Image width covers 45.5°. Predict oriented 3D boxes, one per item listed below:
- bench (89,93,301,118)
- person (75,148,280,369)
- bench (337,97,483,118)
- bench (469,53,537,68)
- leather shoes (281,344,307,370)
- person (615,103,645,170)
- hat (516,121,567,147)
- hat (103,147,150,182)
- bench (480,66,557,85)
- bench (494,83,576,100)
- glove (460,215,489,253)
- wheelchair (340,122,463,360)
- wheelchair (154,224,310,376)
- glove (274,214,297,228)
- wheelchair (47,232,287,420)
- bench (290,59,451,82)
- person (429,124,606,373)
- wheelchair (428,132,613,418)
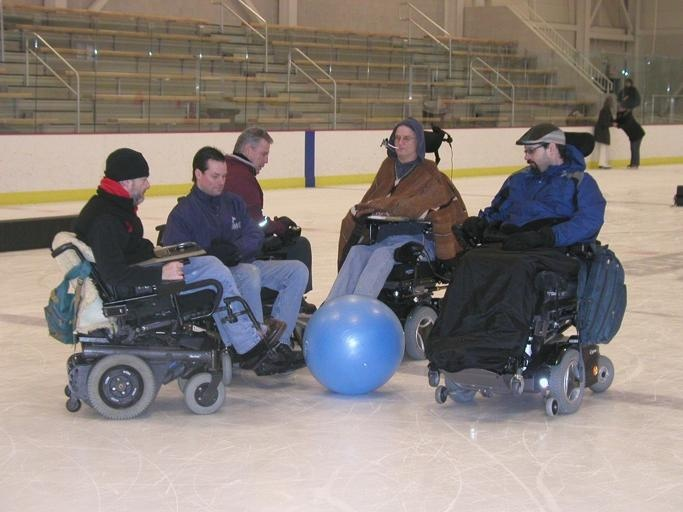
[{"bbox_3d":[-2.797,-2.904,15.843,1.181,0.474,4.449,9,14,38],"label":"bench"},{"bbox_3d":[-0.926,0.043,4.603,1.153,1.220,0.649,4,16,-13],"label":"person"},{"bbox_3d":[1.575,-3.456,18.880,3.571,0.482,1.005,-3,12,-17],"label":"bench"},{"bbox_3d":[4.269,-5.188,22.041,0.491,0.376,3.372,8,13,33],"label":"bench"},{"bbox_3d":[-0.279,0.621,4.902,0.124,0.160,0.172,-11,-33,21],"label":"leather shoes"},{"bbox_3d":[7.126,-2.946,20.298,0.683,1.529,0.578,4,13,17],"label":"person"},{"bbox_3d":[1.159,-0.693,4.770,0.255,0.119,0.179,6,5,6],"label":"hat"},{"bbox_3d":[-1.161,-0.481,4.396,0.205,0.145,0.196,-13,14,-30],"label":"hat"},{"bbox_3d":[4.482,-4.852,21.564,3.072,0.606,0.799,-9,15,-40],"label":"bench"},{"bbox_3d":[5.148,-4.277,21.359,0.822,0.368,2.644,10,15,41],"label":"bench"},{"bbox_3d":[0.789,-0.136,4.879,0.153,0.195,0.086,16,-18,22],"label":"glove"},{"bbox_3d":[0.354,-0.122,5.572,0.891,1.548,0.913,5,7,34],"label":"wheelchair"},{"bbox_3d":[-0.805,0.201,5.075,1.066,1.056,0.712,-8,3,0],"label":"wheelchair"},{"bbox_3d":[-0.383,-0.233,5.623,0.133,0.050,0.099,17,2,-6],"label":"glove"},{"bbox_3d":[-1.117,0.416,4.546,1.050,0.909,0.720,1,-5,-26],"label":"wheelchair"},{"bbox_3d":[0.718,-4.361,19.057,4.221,0.600,0.944,-7,14,-34],"label":"bench"},{"bbox_3d":[0.947,-0.046,4.609,0.970,1.491,0.784,7,-4,-37],"label":"person"},{"bbox_3d":[0.995,0.040,4.600,1.075,1.534,0.948,-3,5,-20],"label":"wheelchair"}]
